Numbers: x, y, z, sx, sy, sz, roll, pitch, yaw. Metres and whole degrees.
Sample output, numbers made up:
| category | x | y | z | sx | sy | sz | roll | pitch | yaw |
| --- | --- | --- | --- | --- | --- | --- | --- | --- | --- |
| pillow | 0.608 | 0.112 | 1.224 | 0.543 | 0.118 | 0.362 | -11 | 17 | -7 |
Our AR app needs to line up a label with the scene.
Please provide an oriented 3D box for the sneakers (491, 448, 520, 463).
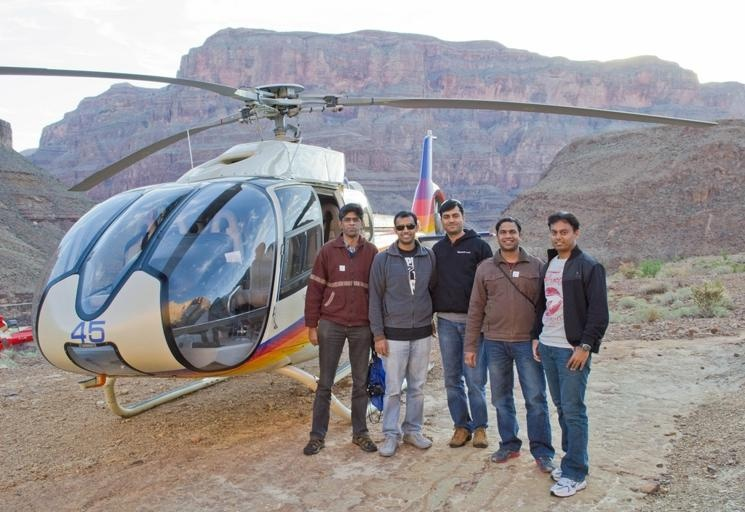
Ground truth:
| category | x | y | z | sx | sy | sz | roll | pitch | yaw |
| --- | --- | --- | --- | --- | --- | --- | --- | --- | --- |
| sneakers | 1.423 | 2.173 | 6.568 | 0.323 | 0.121 | 0.122 | -1 | 11 | -14 |

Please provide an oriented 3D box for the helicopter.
| category | x | y | z | sx | sy | sz | roll | pitch | yaw |
| --- | --- | --- | --- | --- | --- | --- | --- | --- | --- |
| helicopter | -1.678 | 0.013 | 8.019 | 6.022 | 2.264 | 6.577 | 2 | 1 | 30 |

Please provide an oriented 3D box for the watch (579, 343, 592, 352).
| category | x | y | z | sx | sy | sz | roll | pitch | yaw |
| --- | --- | --- | --- | --- | --- | --- | --- | --- | --- |
| watch | 2.082 | 0.900 | 5.917 | 0.117 | 0.056 | 0.097 | 12 | -11 | 0 |

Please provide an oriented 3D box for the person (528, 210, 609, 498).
| category | x | y | z | sx | sy | sz | roll | pitch | yaw |
| --- | --- | --- | --- | --- | --- | --- | --- | --- | --- |
| person | 1.969 | 0.967 | 6.048 | 0.702 | 2.725 | 0.954 | -1 | 15 | 13 |

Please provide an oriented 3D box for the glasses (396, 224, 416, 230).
| category | x | y | z | sx | sy | sz | roll | pitch | yaw |
| --- | --- | --- | --- | --- | --- | --- | --- | --- | --- |
| glasses | 0.375 | -0.324 | 6.821 | 0.222 | 0.071 | 0.065 | -3 | 13 | 2 |

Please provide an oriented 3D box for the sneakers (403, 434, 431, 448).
| category | x | y | z | sx | sy | sz | roll | pitch | yaw |
| --- | --- | --- | --- | --- | --- | --- | --- | --- | --- |
| sneakers | 0.525 | 2.139 | 7.031 | 0.317 | 0.107 | 0.149 | 0 | 2 | 33 |
